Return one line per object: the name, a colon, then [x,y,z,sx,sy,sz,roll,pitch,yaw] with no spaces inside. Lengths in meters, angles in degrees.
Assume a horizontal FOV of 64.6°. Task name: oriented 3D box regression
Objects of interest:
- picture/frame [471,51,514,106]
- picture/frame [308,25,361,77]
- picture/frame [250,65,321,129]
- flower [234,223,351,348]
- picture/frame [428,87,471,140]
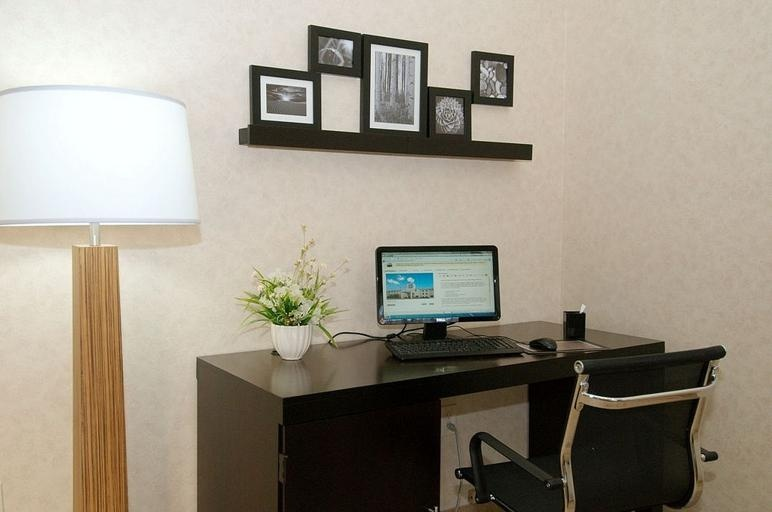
picture/frame: [0.575,-0.978,3.365,0.308,0.317,0.022,-3,7,-34]
picture/frame: [-0.264,-1.000,2.982,0.287,0.246,0.029,0,2,-30]
picture/frame: [-0.491,-0.752,2.881,0.342,0.262,0.025,0,-1,-27]
flower: [-0.442,0.261,2.855,0.411,0.605,0.525,-5,-4,4]
picture/frame: [0.325,-0.757,3.246,0.321,0.329,0.024,1,-1,-30]
